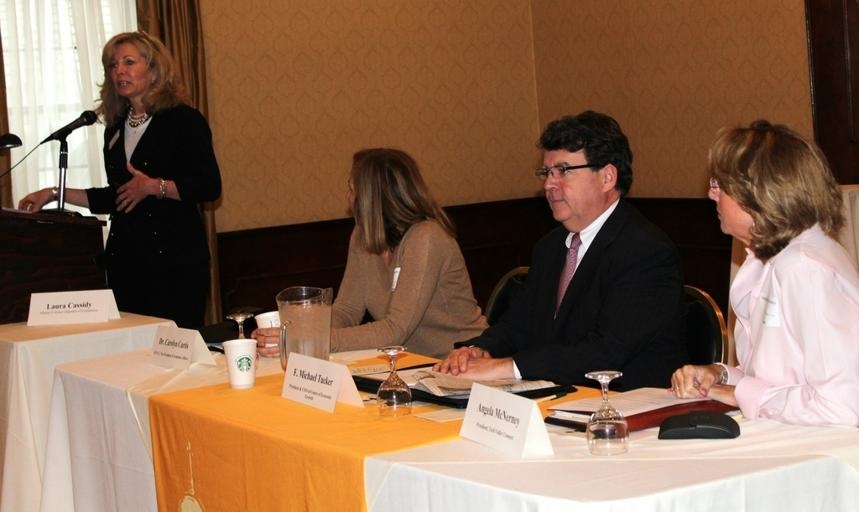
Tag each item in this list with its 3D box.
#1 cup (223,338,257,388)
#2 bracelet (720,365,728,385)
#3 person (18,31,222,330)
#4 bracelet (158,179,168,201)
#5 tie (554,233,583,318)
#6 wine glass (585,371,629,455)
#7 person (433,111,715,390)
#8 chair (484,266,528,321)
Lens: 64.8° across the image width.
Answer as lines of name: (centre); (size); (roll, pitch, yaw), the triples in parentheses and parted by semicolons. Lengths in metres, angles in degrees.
cup: (-0.640, 0.365, 2.306); (0.146, 0.162, 0.147); (-1, -2, 0)
bracelet: (0.957, 0.389, 2.179); (0.015, 0.046, 0.041); (1, -9, 9)
person: (-1.484, -0.402, 3.556); (0.686, 1.560, 0.318); (-2, 2, 11)
bracelet: (-1.371, -0.341, 3.474); (0.039, 0.090, 0.075); (-3, 2, -22)
tie: (0.586, 0.045, 2.828); (0.072, 0.424, 0.047); (24, -9, -41)
wine glass: (0.473, 0.412, 1.790); (0.103, 0.196, 0.147); (-2, 2, 13)
person: (0.570, 0.029, 3.180); (1.204, 1.330, 0.889); (2, -3, -23)
chair: (0.373, 0.189, 3.293); (0.247, 0.251, 0.240); (4, -6, -41)
